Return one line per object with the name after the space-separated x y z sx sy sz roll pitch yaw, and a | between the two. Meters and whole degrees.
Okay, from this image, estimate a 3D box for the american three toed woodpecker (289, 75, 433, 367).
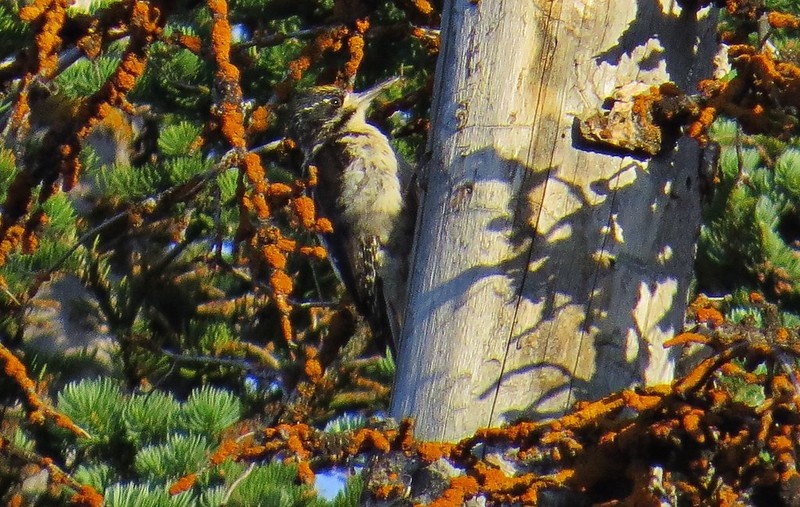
-0.194 -0.145 10.710 0.601 1.463 1.328 1 4 -12 | american three toed woodpecker
